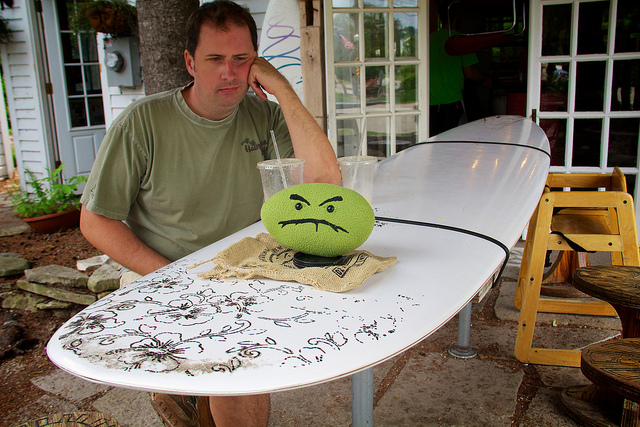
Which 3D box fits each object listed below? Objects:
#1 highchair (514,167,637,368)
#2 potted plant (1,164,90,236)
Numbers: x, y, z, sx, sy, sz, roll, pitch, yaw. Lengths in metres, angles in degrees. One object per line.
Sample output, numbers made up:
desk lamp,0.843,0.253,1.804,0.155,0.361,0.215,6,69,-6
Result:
highchair,1.605,0.392,3.063,1.007,1.307,1.056,5,14,29
potted plant,-3.242,-0.156,5.251,0.785,1.003,0.933,2,15,13
